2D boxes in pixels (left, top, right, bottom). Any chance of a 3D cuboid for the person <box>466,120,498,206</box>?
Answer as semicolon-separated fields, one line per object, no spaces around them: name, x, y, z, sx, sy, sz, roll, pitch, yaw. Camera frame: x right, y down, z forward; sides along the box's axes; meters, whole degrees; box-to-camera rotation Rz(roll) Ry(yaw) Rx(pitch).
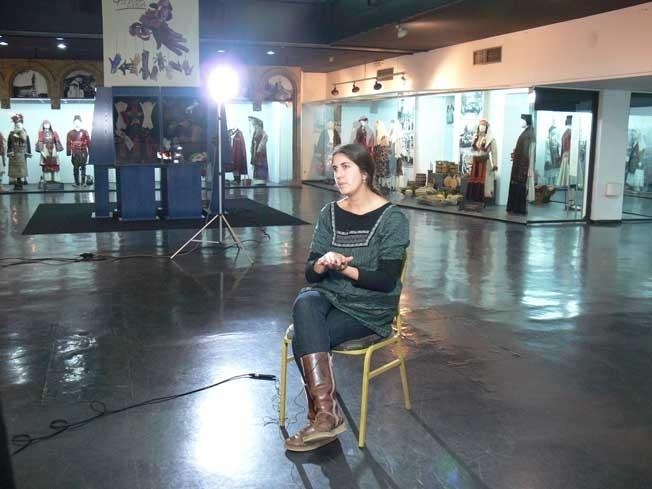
person;3.646;-1.943;10.693;0.695;1.898;0.657;2;9;10

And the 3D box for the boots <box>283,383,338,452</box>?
boots;-0.082;0.858;2.246;0.289;0.281;0.138;-11;20;-30

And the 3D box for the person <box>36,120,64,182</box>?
person;-9.056;-3.103;15.165;0.711;1.973;0.577;-2;9;-17

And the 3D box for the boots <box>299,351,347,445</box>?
boots;-0.011;0.725;2.196;0.202;0.424;0.140;0;9;-4

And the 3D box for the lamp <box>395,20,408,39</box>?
lamp;1.523;-4.372;9.414;0.288;0.299;0.189;5;18;40

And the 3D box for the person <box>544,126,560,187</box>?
person;4.526;-1.804;9.190;0.341;1.196;0.084;-1;9;-6

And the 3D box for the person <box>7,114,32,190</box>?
person;-9.629;-2.911;14.423;0.626;2.272;0.650;-5;10;-33

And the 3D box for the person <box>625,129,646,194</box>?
person;6.467;-1.739;9.594;0.501;1.307;0.136;-3;9;-21

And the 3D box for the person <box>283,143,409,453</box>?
person;0.072;0.230;2.371;0.504;1.504;0.756;7;11;36

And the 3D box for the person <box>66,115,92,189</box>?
person;-8.097;-3.078;15.067;0.683;2.325;0.860;-5;10;-30

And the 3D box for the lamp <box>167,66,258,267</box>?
lamp;-1.570;-1.157;6.583;0.970;2.571;0.995;2;5;-1
